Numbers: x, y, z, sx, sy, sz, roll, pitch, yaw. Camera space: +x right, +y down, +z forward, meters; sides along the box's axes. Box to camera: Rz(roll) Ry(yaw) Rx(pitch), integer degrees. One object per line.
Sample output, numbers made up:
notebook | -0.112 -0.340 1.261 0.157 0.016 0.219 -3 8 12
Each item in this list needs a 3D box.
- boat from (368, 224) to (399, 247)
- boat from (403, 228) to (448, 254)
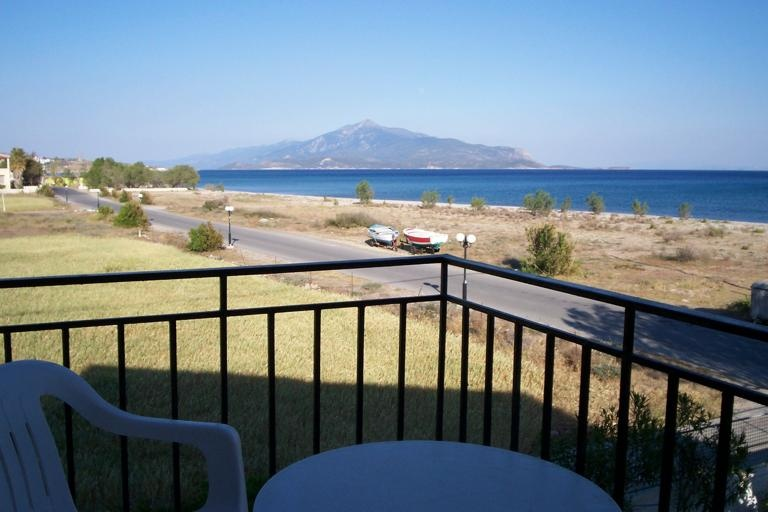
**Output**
boat | -0.063 -1.204 32.464 1.371 1.407 2.816 6 -4 -16
boat | 1.981 -0.917 30.797 1.179 0.858 2.575 -6 12 -24
